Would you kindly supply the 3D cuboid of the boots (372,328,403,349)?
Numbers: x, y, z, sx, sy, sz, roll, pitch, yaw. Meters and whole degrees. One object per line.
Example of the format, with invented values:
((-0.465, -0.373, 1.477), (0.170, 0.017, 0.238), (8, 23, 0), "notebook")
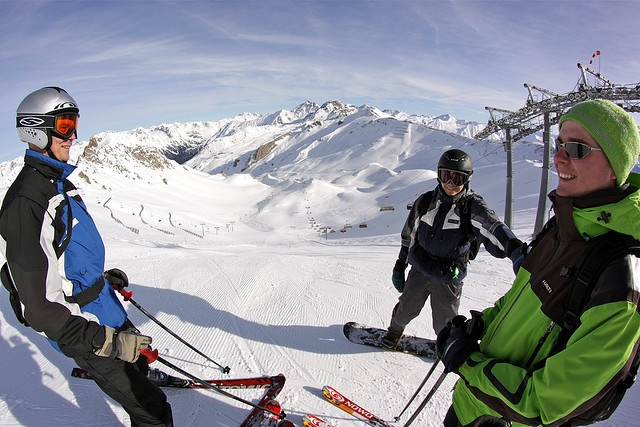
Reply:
((1.372, 2.494, 8.608), (0.287, 0.222, 0.716), (-32, -4, 15), "boots")

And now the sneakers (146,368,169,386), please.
((-2.779, 2.823, 7.541), (0.393, 0.134, 0.216), (23, 28, -23), "sneakers")

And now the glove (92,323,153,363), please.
((-2.733, 1.852, 6.236), (0.661, 0.306, 0.781), (-15, -34, 1), "glove")

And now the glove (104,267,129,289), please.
((-3.445, 1.085, 7.450), (0.433, 0.293, 0.216), (5, 31, 10), "glove")

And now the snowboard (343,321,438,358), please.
((1.330, 2.590, 8.902), (2.318, 0.337, 0.584), (5, 23, 18), "snowboard")

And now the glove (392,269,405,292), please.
((1.558, 1.337, 8.778), (0.330, 0.388, 0.163), (0, -3, -3), "glove")

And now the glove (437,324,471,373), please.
((1.693, 1.694, 5.572), (0.216, 0.574, 0.419), (27, 3, -20), "glove")
